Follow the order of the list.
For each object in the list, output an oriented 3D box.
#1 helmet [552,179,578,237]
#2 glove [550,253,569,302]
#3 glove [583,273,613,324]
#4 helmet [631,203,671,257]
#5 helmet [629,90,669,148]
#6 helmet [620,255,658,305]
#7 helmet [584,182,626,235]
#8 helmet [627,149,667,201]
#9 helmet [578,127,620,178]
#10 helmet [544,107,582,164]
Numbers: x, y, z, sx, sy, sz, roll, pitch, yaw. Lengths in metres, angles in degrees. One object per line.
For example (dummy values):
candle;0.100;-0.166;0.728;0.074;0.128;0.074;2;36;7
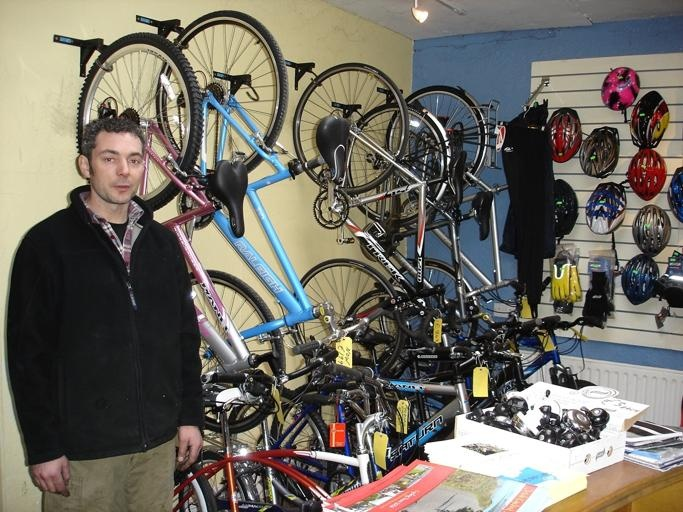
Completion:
helmet;1.823;-0.383;4.969;0.278;0.422;0.154;2;3;19
glove;1.749;0.191;4.894;0.138;0.331;0.099;2;-6;43
glove;1.972;0.325;4.752;0.291;0.529;0.127;-2;-10;35
helmet;2.301;-0.243;4.577;0.312;0.182;0.457;2;-22;33
helmet;2.328;-1.024;4.644;0.270;0.440;0.134;5;-10;28
helmet;2.280;0.173;4.680;0.240;0.381;0.127;8;7;26
helmet;2.079;-0.375;4.805;0.266;0.412;0.138;14;9;34
helmet;2.298;-0.612;4.628;0.248;0.377;0.140;-2;38;29
helmet;2.037;-0.816;4.824;0.271;0.417;0.142;13;12;27
helmet;1.799;-0.980;4.939;0.295;0.449;0.149;4;6;29
